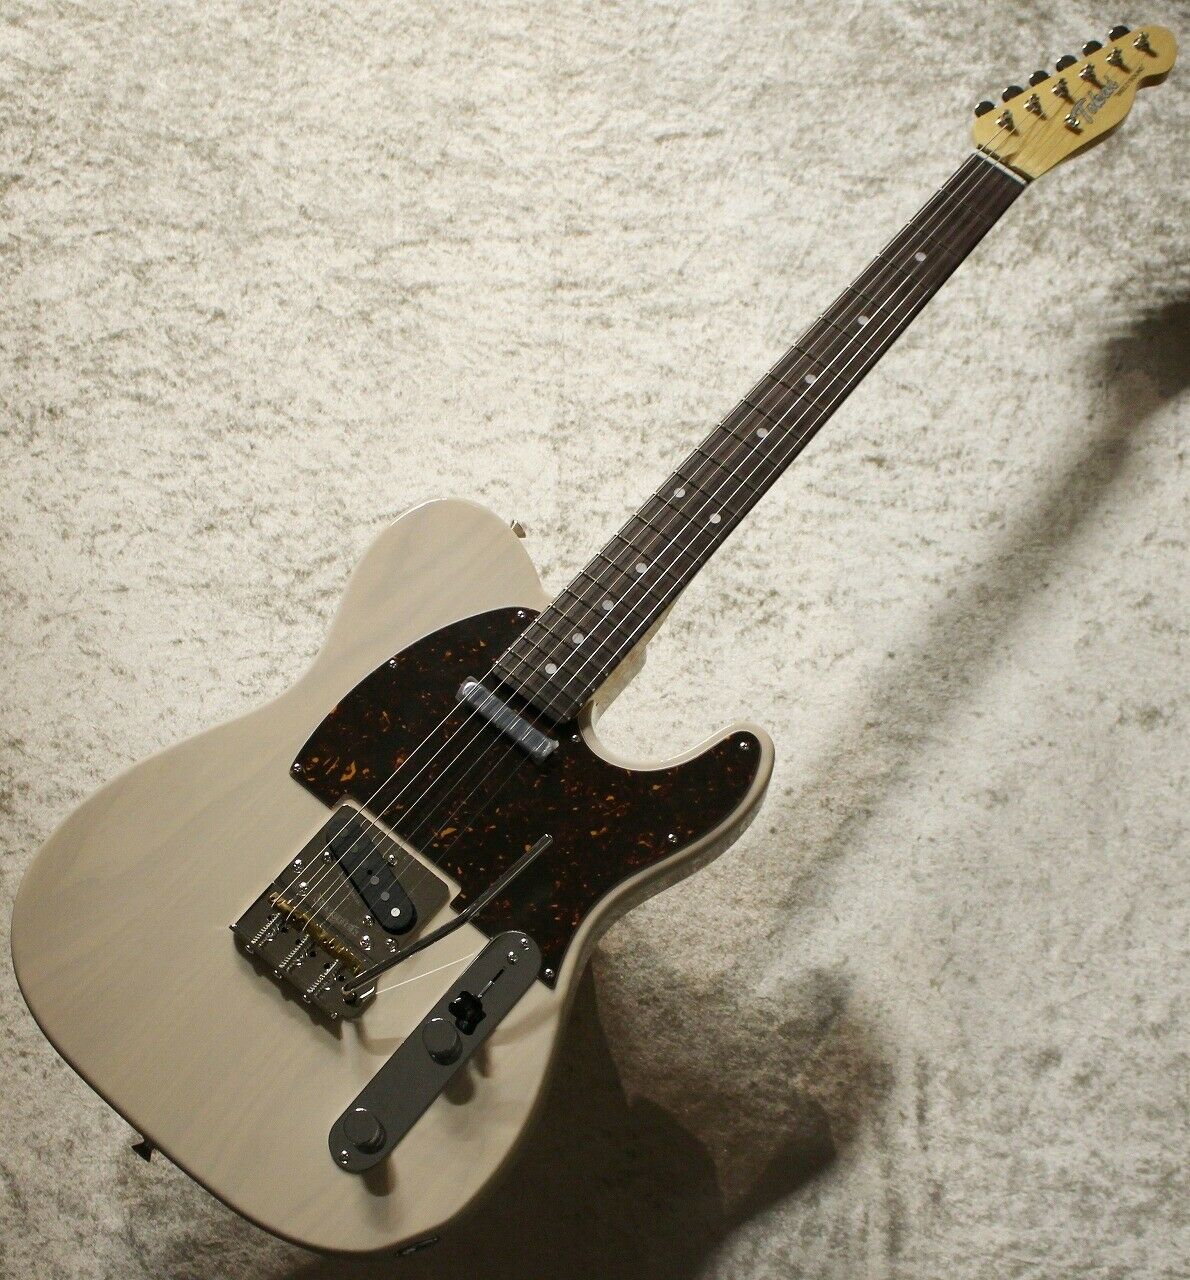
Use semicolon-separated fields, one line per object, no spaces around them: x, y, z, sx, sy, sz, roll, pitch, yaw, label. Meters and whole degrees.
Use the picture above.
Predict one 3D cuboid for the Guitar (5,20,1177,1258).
0.254;-0.161;2.530;0.921;0.317;2.357;38;61;13;Guitar
